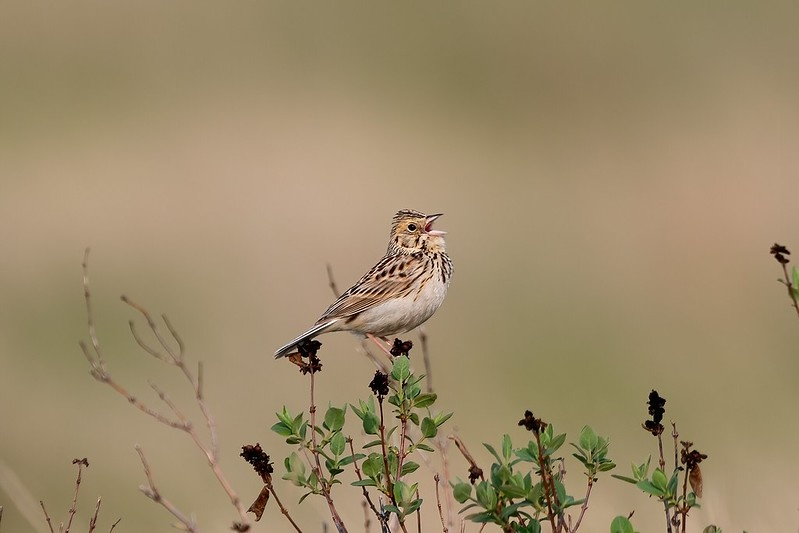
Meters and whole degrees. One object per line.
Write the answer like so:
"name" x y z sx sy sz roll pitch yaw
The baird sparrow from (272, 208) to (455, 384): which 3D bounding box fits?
"baird sparrow" -0.406 0.174 10.831 2.112 0.997 1.678 -4 -91 11
